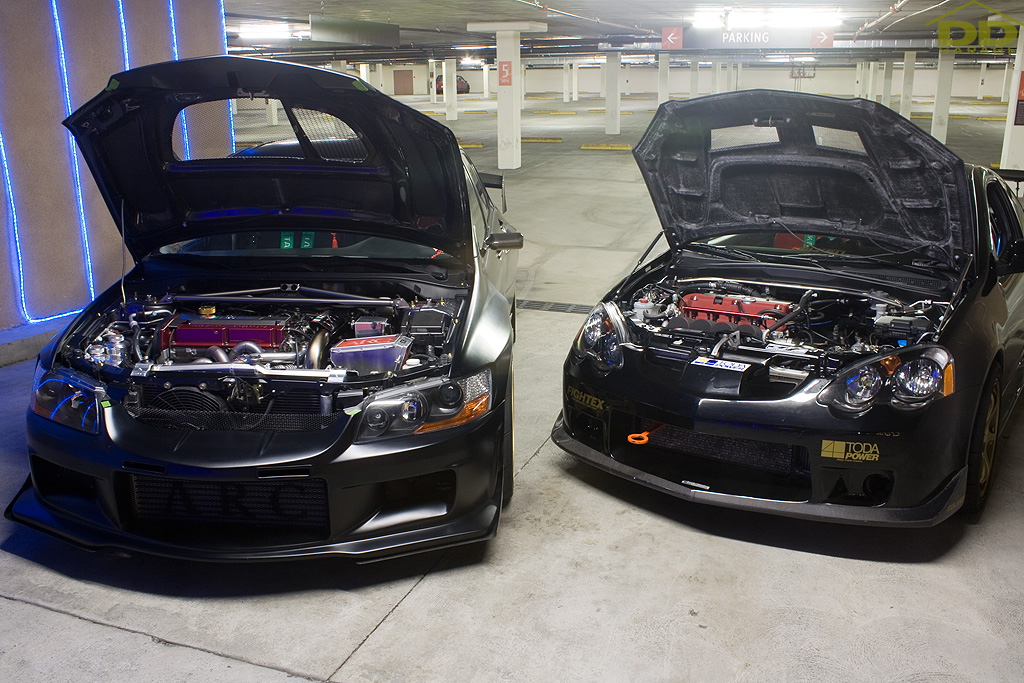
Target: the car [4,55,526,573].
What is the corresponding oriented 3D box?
[{"bbox_3d":[-1.364,-0.276,4.034,2.719,2.613,2.388,-1,23,4],"label":"car"}]
